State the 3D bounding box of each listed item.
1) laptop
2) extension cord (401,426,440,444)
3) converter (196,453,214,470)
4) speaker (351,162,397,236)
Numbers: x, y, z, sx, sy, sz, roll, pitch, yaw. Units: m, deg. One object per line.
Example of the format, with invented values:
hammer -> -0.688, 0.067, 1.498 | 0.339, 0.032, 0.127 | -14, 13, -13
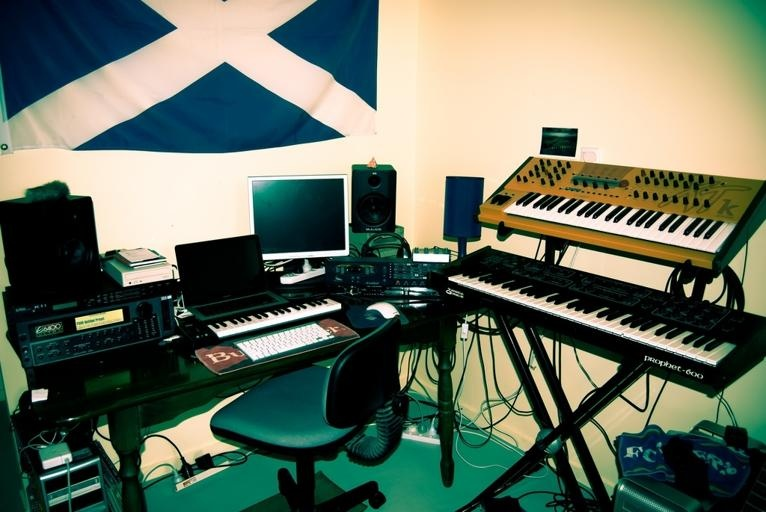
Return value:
laptop -> -0.836, 0.095, 3.088 | 0.582, 0.401, 0.467 | -10, 15, -36
extension cord -> 0.246, 1.161, 3.695 | 0.192, 0.036, 0.125 | 4, 11, 17
converter -> -1.068, 1.240, 3.453 | 0.103, 0.072, 0.094 | 3, 61, -27
speaker -> -0.065, -0.337, 3.484 | 0.261, 0.401, 0.212 | -1, 20, -2
